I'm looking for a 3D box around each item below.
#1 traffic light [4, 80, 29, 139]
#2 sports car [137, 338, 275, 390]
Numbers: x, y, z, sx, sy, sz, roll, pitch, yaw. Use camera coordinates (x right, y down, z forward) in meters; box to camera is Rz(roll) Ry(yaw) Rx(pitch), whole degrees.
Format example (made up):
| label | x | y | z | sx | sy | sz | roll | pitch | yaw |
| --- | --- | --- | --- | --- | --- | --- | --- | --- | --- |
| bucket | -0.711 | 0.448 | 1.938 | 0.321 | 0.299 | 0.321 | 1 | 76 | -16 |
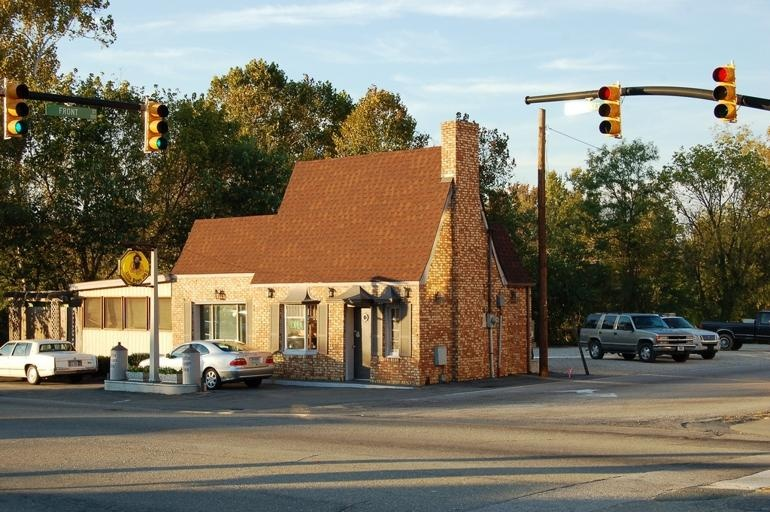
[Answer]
| label | x | y | z | sx | sy | sz | roll | pitch | yaw |
| --- | --- | --- | --- | --- | --- | --- | --- | --- | --- |
| traffic light | -13.292 | -5.330 | 45.000 | 0.899 | 2.157 | 1.241 | -3 | 0 | -17 |
| sports car | -8.367 | 5.011 | 57.213 | 6.870 | 2.117 | 2.901 | -4 | -3 | 36 |
